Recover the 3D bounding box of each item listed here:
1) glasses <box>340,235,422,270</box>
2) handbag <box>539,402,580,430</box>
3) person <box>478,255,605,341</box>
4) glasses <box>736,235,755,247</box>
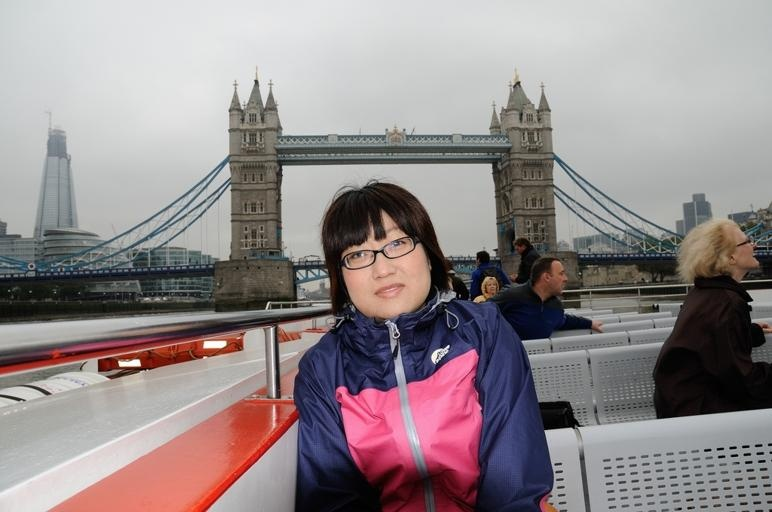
[{"bbox_3d":[-0.015,-0.008,2.265,0.142,0.038,0.133,-18,-21,1],"label":"glasses"},{"bbox_3d":[0.599,0.563,2.619,0.119,0.110,0.106,-5,-18,17],"label":"handbag"},{"bbox_3d":[0.839,0.249,4.129,0.778,0.432,0.452,0,4,-34],"label":"person"},{"bbox_3d":[1.407,-0.060,2.962,0.074,0.020,0.069,4,-5,17],"label":"glasses"}]
